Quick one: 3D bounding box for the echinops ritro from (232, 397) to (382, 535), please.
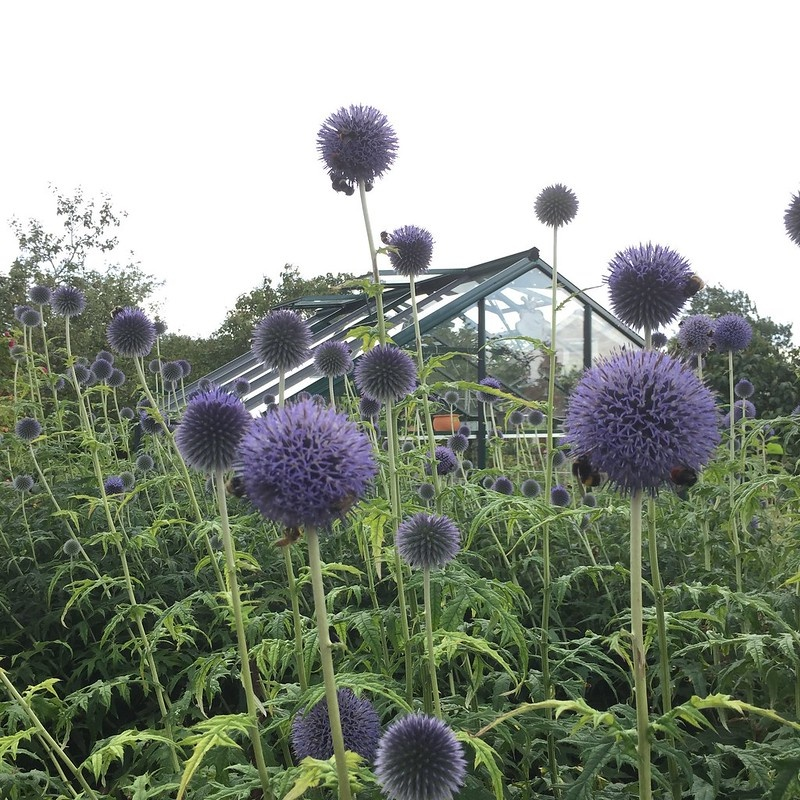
[{"bbox_3d":[-0.295,0.190,3.220,0.467,0.438,0.479,6,6,1],"label":"echinops ritro"}]

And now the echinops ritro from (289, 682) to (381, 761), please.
[{"bbox_3d":[-0.287,1.318,3.741,0.346,0.316,0.331,-2,-4,-11],"label":"echinops ritro"}]

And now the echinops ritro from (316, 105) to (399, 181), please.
[{"bbox_3d":[-0.219,-1.319,4.670,0.401,0.401,0.197,5,-15,-7],"label":"echinops ritro"}]

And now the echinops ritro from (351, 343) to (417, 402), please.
[{"bbox_3d":[-0.054,-0.140,4.654,0.328,0.296,0.309,-3,6,-18],"label":"echinops ritro"}]

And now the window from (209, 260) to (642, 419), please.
[{"bbox_3d":[1.261,-1.402,17.175,5.110,2.131,4.980,4,-10,-39],"label":"window"}]

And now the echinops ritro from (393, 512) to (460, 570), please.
[{"bbox_3d":[0.138,0.591,3.833,0.265,0.231,0.268,9,-15,-21],"label":"echinops ritro"}]

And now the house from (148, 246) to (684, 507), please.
[{"bbox_3d":[0.754,-1.176,17.113,6.129,2.833,5.912,10,-16,-42],"label":"house"}]

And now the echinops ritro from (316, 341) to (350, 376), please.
[{"bbox_3d":[-0.463,-0.274,5.793,0.235,0.236,0.236,-2,-3,29],"label":"echinops ritro"}]
